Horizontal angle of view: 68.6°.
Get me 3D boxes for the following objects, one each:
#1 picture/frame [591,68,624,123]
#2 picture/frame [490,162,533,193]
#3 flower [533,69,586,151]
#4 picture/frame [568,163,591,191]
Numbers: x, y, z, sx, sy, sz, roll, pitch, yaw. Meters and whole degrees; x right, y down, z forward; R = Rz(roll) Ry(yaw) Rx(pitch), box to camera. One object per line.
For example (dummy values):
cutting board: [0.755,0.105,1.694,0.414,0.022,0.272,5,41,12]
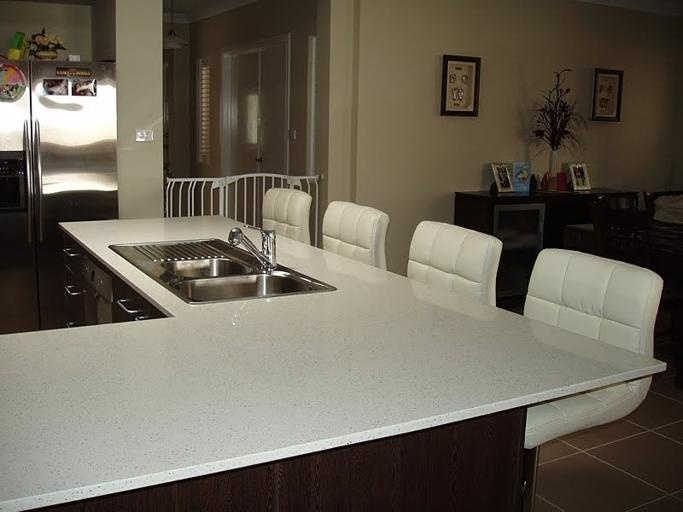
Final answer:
picture/frame: [3.315,-2.031,6.278,0.598,0.880,0.112,-3,7,-28]
picture/frame: [1.896,-0.864,5.590,0.358,0.272,0.020,-1,-1,-23]
flower: [2.655,-1.756,6.011,0.856,0.990,0.374,-9,16,-40]
picture/frame: [2.856,-0.948,6.044,0.354,0.437,0.028,-6,-5,-37]
